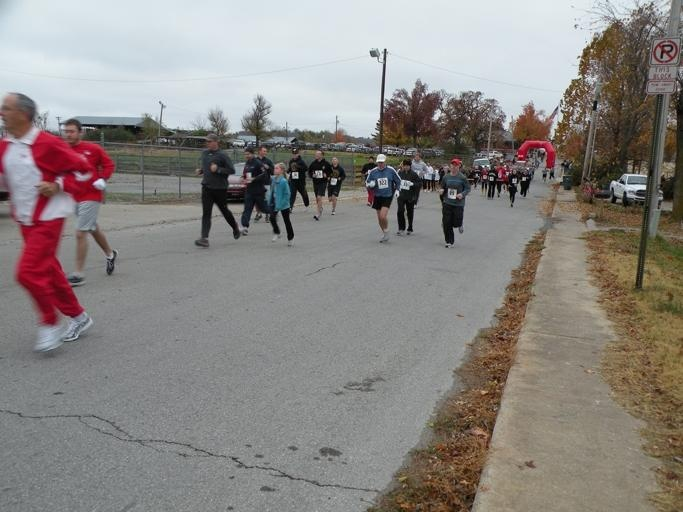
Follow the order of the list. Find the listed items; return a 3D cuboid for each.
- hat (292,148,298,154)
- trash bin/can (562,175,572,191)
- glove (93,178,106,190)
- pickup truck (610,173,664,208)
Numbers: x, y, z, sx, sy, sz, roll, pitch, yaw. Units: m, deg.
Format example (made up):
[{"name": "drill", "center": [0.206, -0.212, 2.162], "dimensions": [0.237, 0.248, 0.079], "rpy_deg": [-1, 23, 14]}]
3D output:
[{"name": "hat", "center": [-1.714, -3.879, 17.985], "dimensions": [0.223, 0.241, 0.310], "rpy_deg": [1, 10, -3]}, {"name": "trash bin/can", "center": [19.194, -6.284, 41.853], "dimensions": [1.114, 1.331, 1.148], "rpy_deg": [-1, 5, 7]}, {"name": "glove", "center": [-3.850, -1.144, 7.795], "dimensions": [0.167, 0.107, 0.218], "rpy_deg": [27, -25, -31]}, {"name": "pickup truck", "center": [16.678, -3.875, 28.557], "dimensions": [1.514, 1.807, 4.501], "rpy_deg": [7, 12, 26]}]
